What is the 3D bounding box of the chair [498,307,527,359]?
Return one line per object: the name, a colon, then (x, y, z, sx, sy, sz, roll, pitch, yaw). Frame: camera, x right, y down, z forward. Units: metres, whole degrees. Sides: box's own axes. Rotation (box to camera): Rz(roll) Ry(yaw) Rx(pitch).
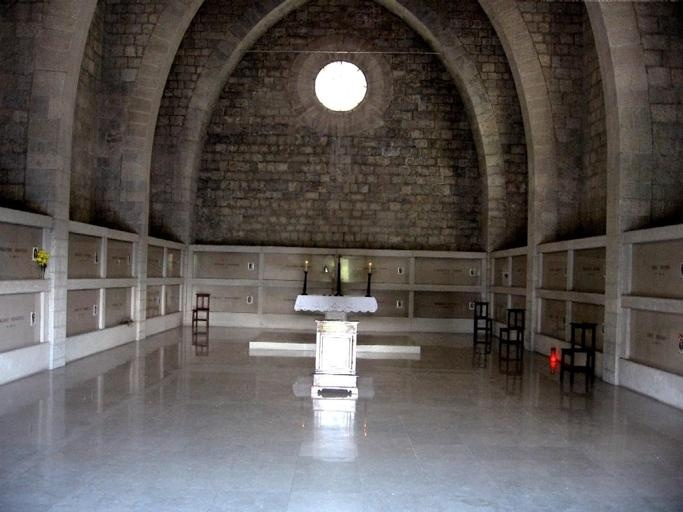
chair: (3.850, 1.812, 13.127, 0.548, 1.264, 0.502, 0, -2, 30)
